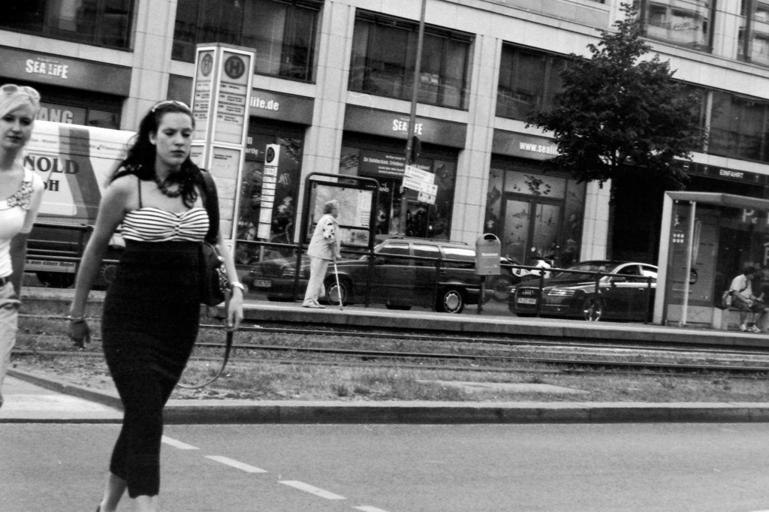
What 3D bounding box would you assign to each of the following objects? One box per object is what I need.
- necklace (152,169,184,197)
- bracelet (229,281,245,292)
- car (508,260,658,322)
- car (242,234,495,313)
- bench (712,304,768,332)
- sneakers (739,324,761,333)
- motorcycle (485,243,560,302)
[{"bbox_3d":[-2.133,-0.714,11.634,0.246,0.291,0.093,-10,-24,-6],"label":"necklace"},{"bbox_3d":[-1.516,0.324,11.921,0.161,0.096,0.146,-9,-8,37],"label":"bracelet"},{"bbox_3d":[4.955,0.867,29.492,3.907,1.023,1.567,3,-3,-40],"label":"car"},{"bbox_3d":[-0.179,0.510,26.826,4.772,1.260,2.006,3,-3,-31],"label":"car"},{"bbox_3d":[9.368,1.588,30.785,1.629,0.662,0.227,5,2,-21],"label":"bench"},{"bbox_3d":[9.664,1.882,30.836,0.465,0.162,0.241,0,1,-7],"label":"sneakers"},{"bbox_3d":[3.328,0.352,29.193,2.515,0.947,1.508,-4,9,-22],"label":"motorcycle"}]
